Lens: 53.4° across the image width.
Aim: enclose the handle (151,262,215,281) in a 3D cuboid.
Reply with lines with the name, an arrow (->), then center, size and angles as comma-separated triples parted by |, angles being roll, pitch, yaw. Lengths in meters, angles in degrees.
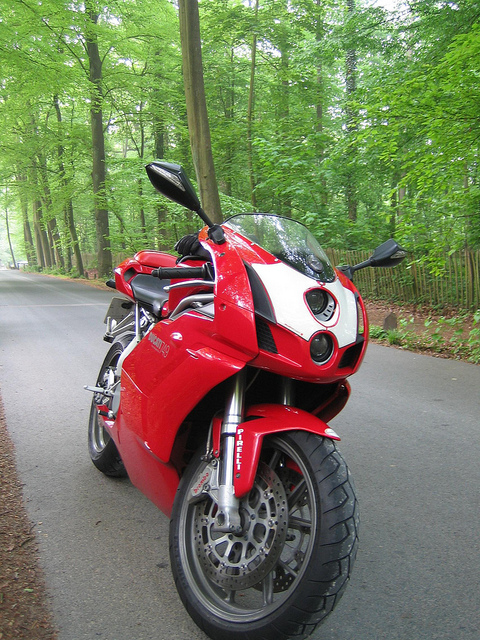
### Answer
handle -> -0.222, -0.191, 1.946 | 0.230, 0.084, 0.096 | -1, 8, -12
